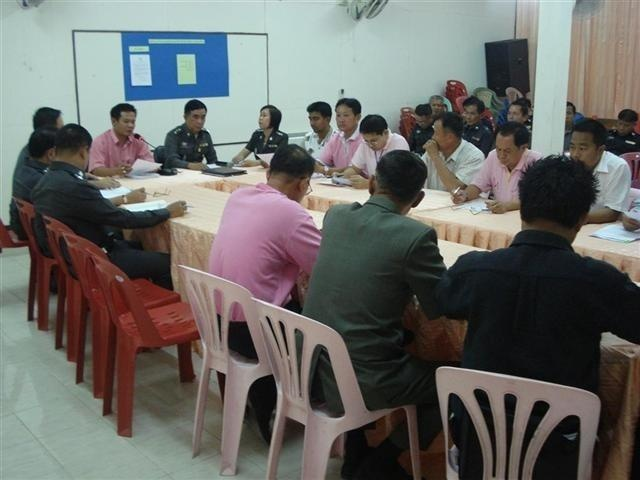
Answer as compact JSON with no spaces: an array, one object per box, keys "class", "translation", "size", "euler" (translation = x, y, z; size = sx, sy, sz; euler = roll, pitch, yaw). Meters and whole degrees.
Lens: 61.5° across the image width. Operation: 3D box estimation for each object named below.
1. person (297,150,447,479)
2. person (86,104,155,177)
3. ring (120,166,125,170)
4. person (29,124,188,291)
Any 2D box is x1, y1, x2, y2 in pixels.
[{"class":"person","translation":[0.200,0.355,2.043],"size":[0.524,1.364,0.395],"euler":[1,11,11]},{"class":"person","translation":[-1.838,-0.814,4.990],"size":[0.508,0.887,0.580],"euler":[5,6,34]},{"class":"ring","translation":[-1.653,-0.609,4.544],"size":[0.026,0.021,0.028],"euler":[-2,-12,0]},{"class":"person","translation":[-1.296,0.000,3.534],"size":[0.876,1.434,0.637],"euler":[-12,20,-33]}]
